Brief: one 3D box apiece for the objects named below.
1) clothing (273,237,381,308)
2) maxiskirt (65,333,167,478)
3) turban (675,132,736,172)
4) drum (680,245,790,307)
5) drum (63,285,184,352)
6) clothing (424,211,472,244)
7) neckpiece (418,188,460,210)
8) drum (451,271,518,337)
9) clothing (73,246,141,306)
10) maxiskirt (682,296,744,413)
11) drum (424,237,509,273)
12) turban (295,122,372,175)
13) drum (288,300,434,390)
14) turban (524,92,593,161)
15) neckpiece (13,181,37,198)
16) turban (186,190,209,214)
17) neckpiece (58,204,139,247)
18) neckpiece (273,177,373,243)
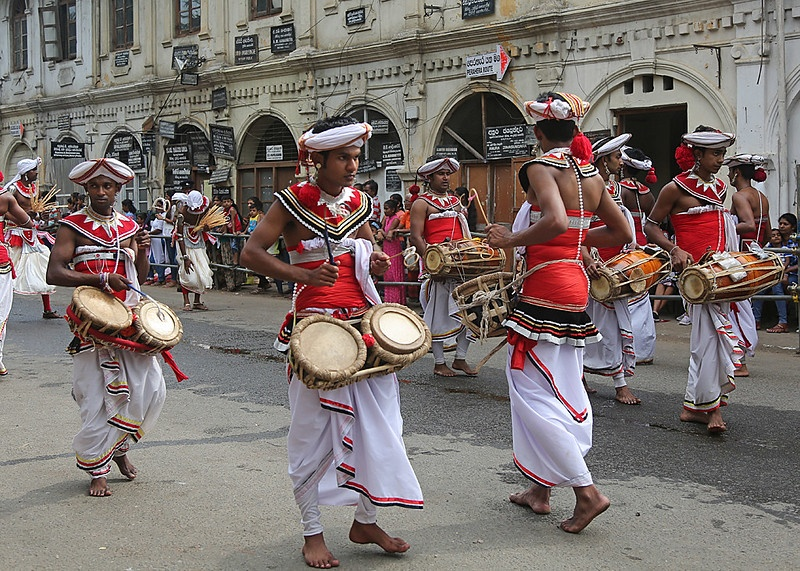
[{"bbox_3d":[-0.472,-0.112,6.232,0.739,0.594,0.463,-1,-5,-25],"label":"clothing"},{"bbox_3d":[-2.149,0.971,7.072,0.684,1.012,0.433,-4,13,-15],"label":"maxiskirt"},{"bbox_3d":[2.775,-1.234,8.347,0.514,0.358,0.405,1,5,17],"label":"turban"},{"bbox_3d":[3.015,-0.081,8.397,1.118,0.443,0.507,-10,13,-38],"label":"drum"},{"bbox_3d":[-2.088,0.326,7.064,0.788,0.212,0.515,14,30,-29],"label":"drum"},{"bbox_3d":[0.528,-0.643,10.248,0.441,0.400,0.329,1,44,-7],"label":"clothing"},{"bbox_3d":[0.434,-0.945,10.363,0.406,0.162,0.251,7,4,-20],"label":"neckpiece"},{"bbox_3d":[0.619,0.180,7.343,0.648,0.413,0.619,-22,-4,-2],"label":"drum"},{"bbox_3d":[-2.248,-0.085,7.385,0.521,0.488,0.509,-4,2,27],"label":"clothing"},{"bbox_3d":[2.777,0.646,8.185,0.433,0.960,0.300,4,13,19],"label":"maxiskirt"},{"bbox_3d":[0.706,-0.293,10.114,0.506,0.383,1.002,2,4,42],"label":"drum"},{"bbox_3d":[-0.441,-0.881,6.192,0.524,0.262,0.446,-9,-10,13],"label":"turban"},{"bbox_3d":[-0.259,0.375,5.901,0.819,0.260,0.515,-15,51,-23],"label":"drum"},{"bbox_3d":[1.230,-1.197,6.743,0.632,0.509,0.496,-4,3,-19],"label":"turban"},{"bbox_3d":[-5.164,-1.317,12.680,0.291,0.174,0.486,13,9,14],"label":"neckpiece"},{"bbox_3d":[-3.488,-1.401,15.815,0.384,0.344,0.189,-16,-10,-15],"label":"turban"},{"bbox_3d":[-2.324,-0.451,7.228,0.533,0.239,0.328,11,-3,-28],"label":"neckpiece"},{"bbox_3d":[-0.480,-0.523,6.049,0.643,0.298,0.348,2,-29,8],"label":"neckpiece"}]
